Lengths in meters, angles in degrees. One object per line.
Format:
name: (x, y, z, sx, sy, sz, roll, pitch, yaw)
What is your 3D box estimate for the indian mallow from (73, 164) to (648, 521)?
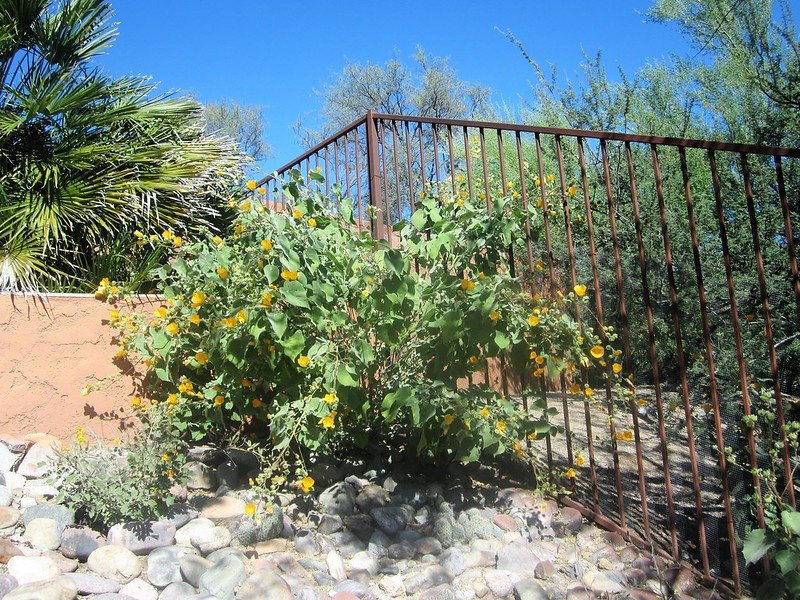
indian mallow: (0.021, 0.165, 3.110, 2.327, 1.418, 2.146, 2, 0, 34)
